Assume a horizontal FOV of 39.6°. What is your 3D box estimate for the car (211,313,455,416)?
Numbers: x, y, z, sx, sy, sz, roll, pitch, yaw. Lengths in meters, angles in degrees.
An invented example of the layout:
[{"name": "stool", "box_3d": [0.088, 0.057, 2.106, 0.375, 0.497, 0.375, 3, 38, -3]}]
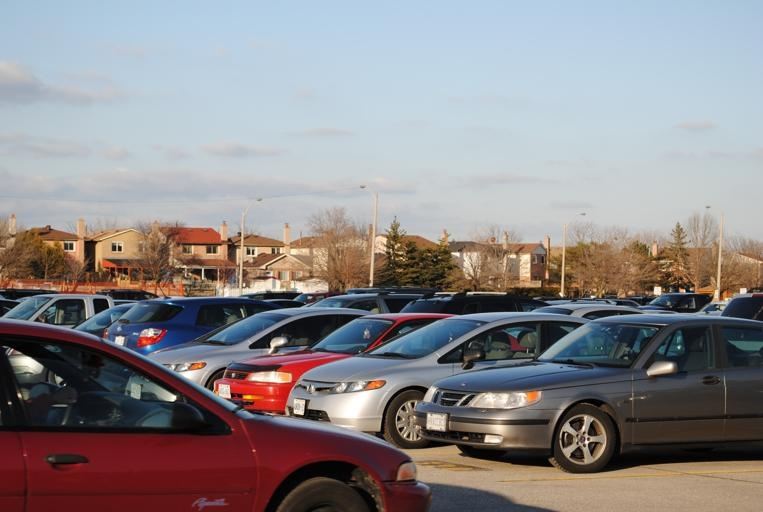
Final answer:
[{"name": "car", "box_3d": [-0.544, 1.478, 16.035, 3.657, 0.772, 1.495, 1, -2, -31]}]
